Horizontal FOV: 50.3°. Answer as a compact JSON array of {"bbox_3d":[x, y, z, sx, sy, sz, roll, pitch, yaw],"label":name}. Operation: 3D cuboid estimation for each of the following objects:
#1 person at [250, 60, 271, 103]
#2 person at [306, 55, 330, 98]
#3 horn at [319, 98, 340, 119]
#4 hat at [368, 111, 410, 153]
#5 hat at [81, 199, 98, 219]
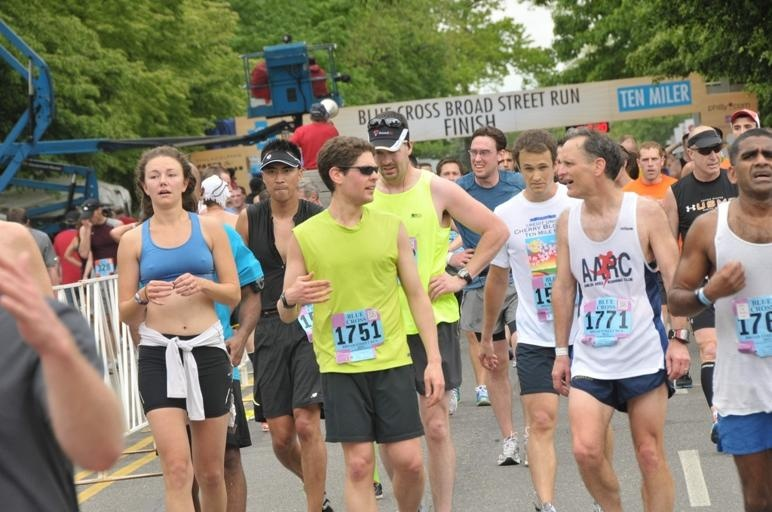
[{"bbox_3d":[-2.454,-3.343,16.007,0.371,0.826,0.680,-5,7,-9],"label":"person"},{"bbox_3d":[-1.291,-3.420,15.914,0.341,0.813,0.510,-5,7,-3],"label":"person"},{"bbox_3d":[-1.023,-2.673,14.966,0.408,0.395,0.731,-5,10,11],"label":"horn"},{"bbox_3d":[0.016,-0.942,6.268,0.341,0.259,0.497,3,11,12],"label":"hat"},{"bbox_3d":[-4.807,-0.739,13.219,0.322,0.332,0.248,4,4,-13],"label":"hat"}]
